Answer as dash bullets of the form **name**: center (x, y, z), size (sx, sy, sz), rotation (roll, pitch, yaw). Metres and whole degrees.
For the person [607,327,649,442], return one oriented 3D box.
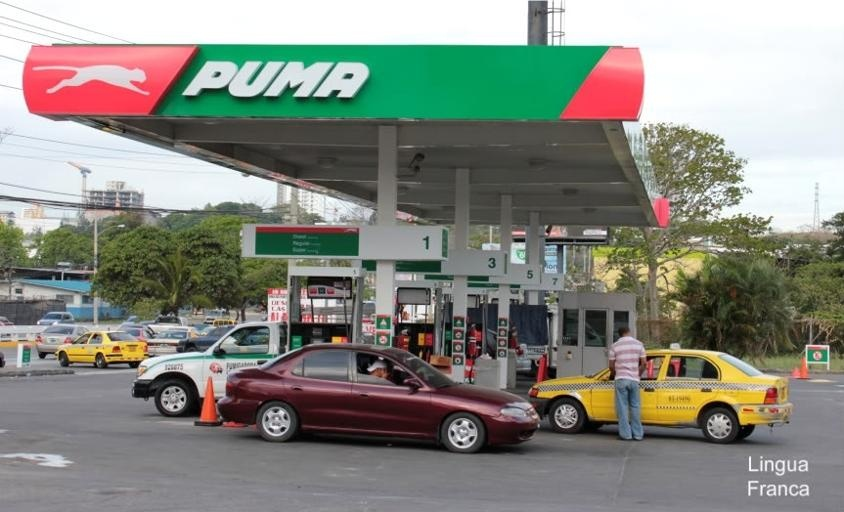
- **person**: center (5.400, 3.352, 25.145), size (0.899, 2.926, 0.528), rotation (0, -5, 4)

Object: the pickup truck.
- **pickup truck**: center (-5.289, 3.157, 28.493), size (6.433, 2.546, 2.448), rotation (-2, -1, -11)
